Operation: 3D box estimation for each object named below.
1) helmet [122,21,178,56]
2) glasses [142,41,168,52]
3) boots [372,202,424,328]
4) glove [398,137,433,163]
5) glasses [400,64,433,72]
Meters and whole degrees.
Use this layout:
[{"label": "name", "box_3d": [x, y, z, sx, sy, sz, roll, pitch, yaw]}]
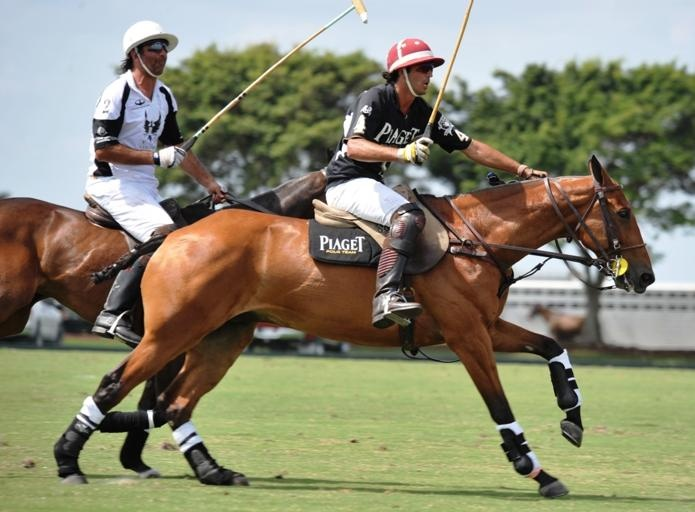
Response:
[{"label": "helmet", "box_3d": [-1.802, -2.026, 9.202, 0.502, 0.312, 0.337, 4, -2, -28]}, {"label": "glasses", "box_3d": [-1.759, -1.947, 9.123, 0.151, 0.042, 0.168, -5, -3, -44]}, {"label": "boots", "box_3d": [0.476, 0.072, 8.559, 0.412, 1.119, 0.412, 5, -3, 2]}, {"label": "glove", "box_3d": [0.615, -0.910, 8.529, 0.307, 0.075, 0.285, -13, 2, 34]}, {"label": "glasses", "box_3d": [0.657, -1.707, 8.964, 0.179, 0.031, 0.118, -2, 2, 25]}]
